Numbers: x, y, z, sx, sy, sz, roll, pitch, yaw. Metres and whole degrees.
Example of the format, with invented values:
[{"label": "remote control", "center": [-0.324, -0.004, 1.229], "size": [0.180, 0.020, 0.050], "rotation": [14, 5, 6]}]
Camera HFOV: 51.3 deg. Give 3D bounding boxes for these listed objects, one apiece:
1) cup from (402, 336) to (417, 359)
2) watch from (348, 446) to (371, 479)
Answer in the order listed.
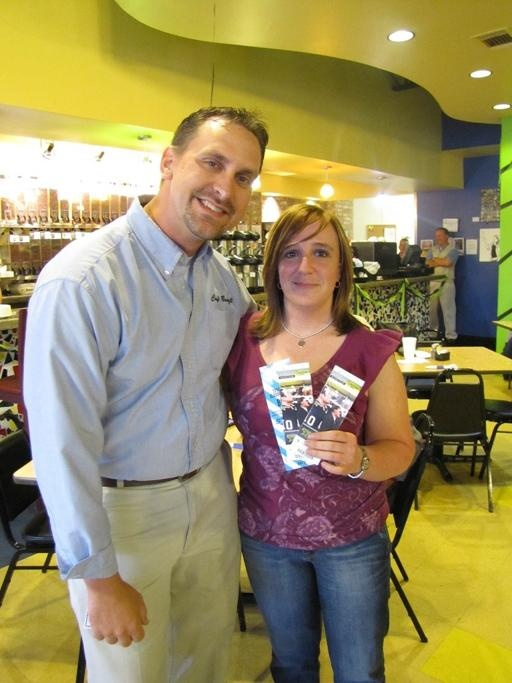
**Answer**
[{"label": "cup", "center": [1.291, 0.056, 4.508], "size": [0.165, 0.176, 0.158], "rotation": [-5, 10, 1]}, {"label": "watch", "center": [0.258, 0.301, 1.335], "size": [0.054, 0.077, 0.071], "rotation": [15, -29, -42]}]
